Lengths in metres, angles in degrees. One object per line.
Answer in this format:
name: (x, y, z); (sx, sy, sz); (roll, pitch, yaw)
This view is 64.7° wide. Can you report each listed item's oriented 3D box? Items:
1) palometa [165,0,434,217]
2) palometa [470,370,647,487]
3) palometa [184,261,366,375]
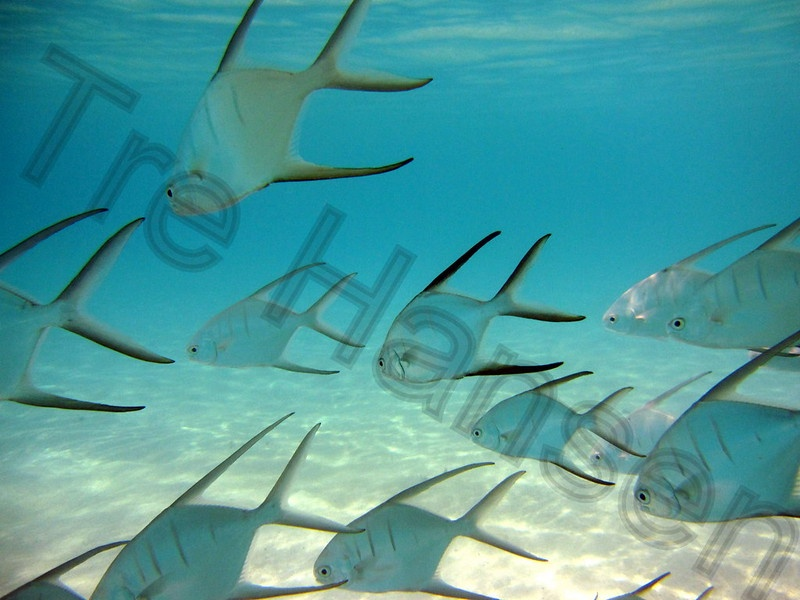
palometa: (-0.543, -0.907, 3.072); (0.884, 1.244, 0.221); (25, -2, 8)
palometa: (0.936, 0.777, 3.799); (0.293, 0.586, 1.184); (20, -22, -29)
palometa: (-0.801, 0.181, 3.850); (1.363, 0.603, 0.301); (-15, -14, 39)
